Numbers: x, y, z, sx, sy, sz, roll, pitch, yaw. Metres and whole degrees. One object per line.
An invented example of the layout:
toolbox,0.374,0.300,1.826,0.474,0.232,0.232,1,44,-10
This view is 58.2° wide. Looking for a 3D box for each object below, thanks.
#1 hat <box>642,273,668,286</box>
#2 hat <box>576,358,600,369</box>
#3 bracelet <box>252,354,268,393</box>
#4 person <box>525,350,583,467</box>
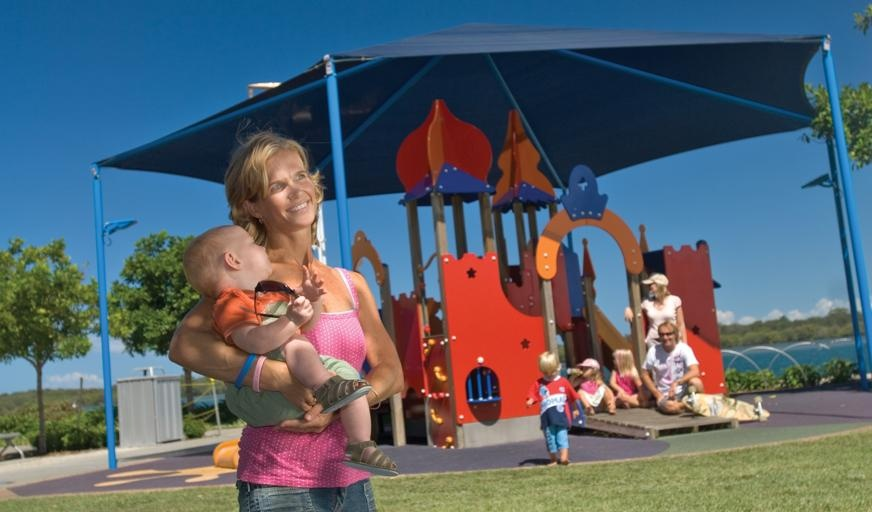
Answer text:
hat,5.061,0.541,17.842,0.433,0.242,0.294,10,-10,-14
hat,3.442,2.392,17.278,0.268,0.172,0.390,-9,-17,41
bracelet,-2.258,1.506,10.014,0.207,0.441,0.075,-12,-12,29
person,2.262,2.916,15.049,0.900,2.089,0.556,-4,-10,-11
